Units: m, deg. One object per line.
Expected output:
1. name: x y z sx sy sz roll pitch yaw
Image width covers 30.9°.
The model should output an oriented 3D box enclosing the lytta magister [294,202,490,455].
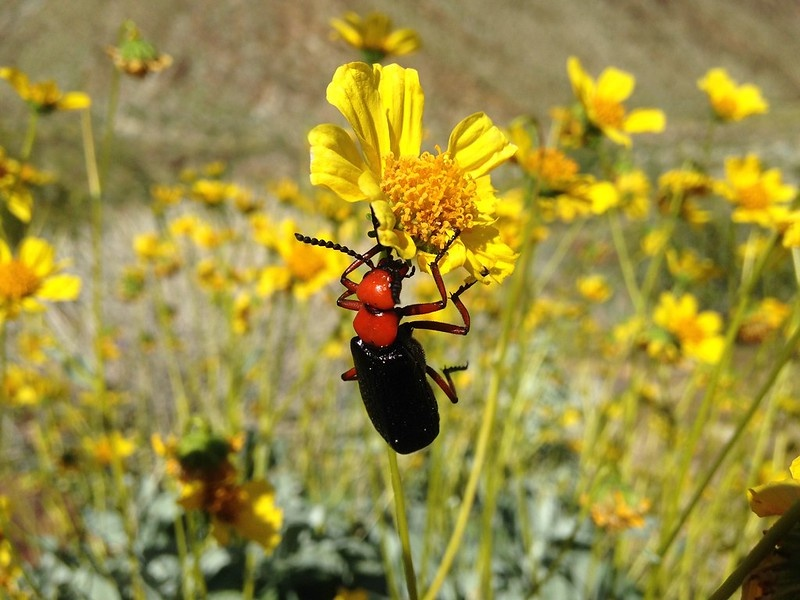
1. lytta magister: 0.038 0.093 3.051 0.154 0.525 0.365 -30 19 -38
